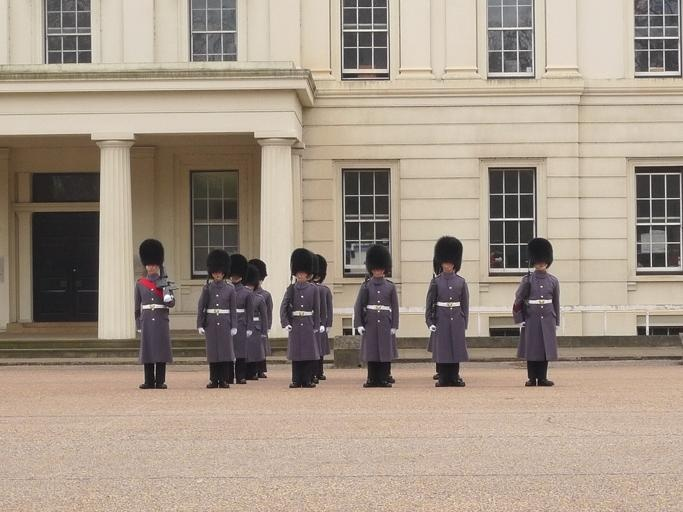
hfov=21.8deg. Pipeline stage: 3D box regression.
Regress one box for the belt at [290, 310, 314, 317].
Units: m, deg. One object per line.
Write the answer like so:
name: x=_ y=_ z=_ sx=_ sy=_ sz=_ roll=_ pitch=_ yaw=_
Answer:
belt: x=-0.691 y=1.015 z=31.192 sx=0.332 sy=0.096 sz=0.049 roll=-1 pitch=0 yaw=-11

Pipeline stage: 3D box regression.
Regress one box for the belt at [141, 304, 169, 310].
belt: x=-3.260 y=0.894 z=30.953 sx=0.424 sy=0.105 sz=0.099 roll=-1 pitch=0 yaw=2

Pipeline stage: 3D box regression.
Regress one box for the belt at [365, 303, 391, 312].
belt: x=0.671 y=0.914 z=31.132 sx=0.421 sy=0.117 sz=0.065 roll=-1 pitch=0 yaw=2

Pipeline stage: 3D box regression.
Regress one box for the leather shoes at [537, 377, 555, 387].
leather shoes: x=3.624 y=2.237 z=31.038 sx=0.333 sy=0.127 sz=0.108 roll=-1 pitch=-3 yaw=13

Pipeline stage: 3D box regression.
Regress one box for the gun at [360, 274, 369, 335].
gun: x=0.422 y=0.886 z=31.212 sx=0.197 sy=1.017 sz=0.383 roll=-2 pitch=0 yaw=2

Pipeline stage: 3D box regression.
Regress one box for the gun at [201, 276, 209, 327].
gun: x=-2.412 y=0.885 z=31.171 sx=0.223 sy=0.929 sz=0.271 roll=-2 pitch=0 yaw=-5

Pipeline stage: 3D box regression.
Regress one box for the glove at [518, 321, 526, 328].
glove: x=3.224 y=1.221 z=31.321 sx=0.100 sy=0.104 sz=0.123 roll=3 pitch=0 yaw=-14

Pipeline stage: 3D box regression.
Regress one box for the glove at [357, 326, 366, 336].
glove: x=0.321 y=1.318 z=31.108 sx=0.167 sy=0.166 sz=0.152 roll=-2 pitch=0 yaw=40

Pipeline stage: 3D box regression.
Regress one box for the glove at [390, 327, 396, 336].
glove: x=0.896 y=1.318 z=31.204 sx=0.130 sy=0.105 sz=0.102 roll=24 pitch=18 yaw=33

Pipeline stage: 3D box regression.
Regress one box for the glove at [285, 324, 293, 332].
glove: x=-0.921 y=1.274 z=31.169 sx=0.107 sy=0.142 sz=0.151 roll=-2 pitch=0 yaw=-3

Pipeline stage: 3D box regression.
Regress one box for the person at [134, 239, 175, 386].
person: x=-3.268 y=1.013 z=31.045 sx=0.670 sy=2.609 sz=0.486 roll=-2 pitch=0 yaw=-7

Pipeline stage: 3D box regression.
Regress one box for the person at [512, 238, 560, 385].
person: x=3.450 y=0.982 z=31.240 sx=0.794 sy=2.627 sz=0.666 roll=-2 pitch=0 yaw=5

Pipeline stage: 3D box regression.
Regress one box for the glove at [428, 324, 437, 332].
glove: x=1.624 y=1.290 z=31.126 sx=0.121 sy=0.104 sz=0.037 roll=5 pitch=0 yaw=15

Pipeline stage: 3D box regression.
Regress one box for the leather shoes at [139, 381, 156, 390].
leather shoes: x=-3.401 y=2.285 z=31.013 sx=0.308 sy=0.108 sz=0.101 roll=3 pitch=2 yaw=31

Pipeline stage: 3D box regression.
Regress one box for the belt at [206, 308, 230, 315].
belt: x=-2.150 y=0.976 z=31.133 sx=0.382 sy=0.095 sz=0.083 roll=-1 pitch=0 yaw=-16

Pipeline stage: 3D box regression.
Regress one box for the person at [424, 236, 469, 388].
person: x=1.872 y=0.974 z=31.234 sx=0.752 sy=2.640 sz=0.623 roll=-2 pitch=0 yaw=2

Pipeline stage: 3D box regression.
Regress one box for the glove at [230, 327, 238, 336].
glove: x=-1.879 y=1.330 z=31.176 sx=0.106 sy=0.101 sz=0.121 roll=2 pitch=-16 yaw=-4

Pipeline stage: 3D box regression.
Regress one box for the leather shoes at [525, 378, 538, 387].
leather shoes: x=3.344 y=2.218 z=31.048 sx=0.201 sy=0.133 sz=0.143 roll=-2 pitch=0 yaw=5

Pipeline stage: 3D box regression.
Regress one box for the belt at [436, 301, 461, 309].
belt: x=1.892 y=0.858 z=31.103 sx=0.371 sy=0.096 sz=0.079 roll=-1 pitch=0 yaw=-7

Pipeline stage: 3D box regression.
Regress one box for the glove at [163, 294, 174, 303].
glove: x=-3.011 y=0.748 z=30.894 sx=0.180 sy=0.163 sz=0.115 roll=-2 pitch=0 yaw=-3

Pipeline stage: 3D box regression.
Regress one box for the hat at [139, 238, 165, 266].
hat: x=-3.308 y=-0.065 z=31.262 sx=0.377 sy=0.473 sz=0.489 roll=0 pitch=5 yaw=3

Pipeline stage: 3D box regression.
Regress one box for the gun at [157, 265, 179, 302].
gun: x=-3.259 y=0.537 z=33.276 sx=0.423 sy=0.771 sz=0.230 roll=5 pitch=-39 yaw=-28

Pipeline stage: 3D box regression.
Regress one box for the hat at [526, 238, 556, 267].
hat: x=3.568 y=-0.037 z=31.613 sx=0.402 sy=0.396 sz=0.541 roll=0 pitch=-6 yaw=2
